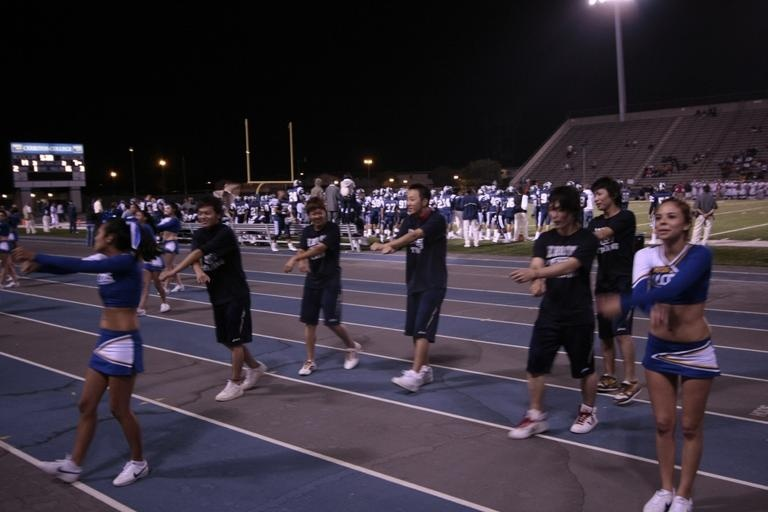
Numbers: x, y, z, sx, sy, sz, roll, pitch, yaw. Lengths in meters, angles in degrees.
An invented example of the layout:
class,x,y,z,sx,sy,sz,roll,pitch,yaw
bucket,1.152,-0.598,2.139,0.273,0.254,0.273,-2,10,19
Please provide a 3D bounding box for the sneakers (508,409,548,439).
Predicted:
class,x,y,z,sx,sy,sz,roll,pitch,yaw
sneakers,1.428,1.755,5.618,0.563,0.238,0.194,-6,4,-28

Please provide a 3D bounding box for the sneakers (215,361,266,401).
class,x,y,z,sx,sy,sz,roll,pitch,yaw
sneakers,-1.848,1.587,6.893,0.238,0.263,0.711,3,13,34

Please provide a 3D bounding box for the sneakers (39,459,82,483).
class,x,y,z,sx,sy,sz,roll,pitch,yaw
sneakers,-3.044,2.024,5.068,0.382,0.154,0.126,24,-1,-2

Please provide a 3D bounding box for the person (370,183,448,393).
class,x,y,z,sx,sy,sz,roll,pitch,yaw
person,0.410,0.392,6.776,0.685,2.572,0.690,2,8,15

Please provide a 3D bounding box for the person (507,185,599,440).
class,x,y,z,sx,sy,sz,roll,pitch,yaw
person,1.758,0.582,5.570,0.957,2.597,0.523,-3,8,-20

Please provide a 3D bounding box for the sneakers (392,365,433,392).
class,x,y,z,sx,sy,sz,roll,pitch,yaw
sneakers,0.412,1.540,6.805,0.612,0.223,0.215,0,5,-37

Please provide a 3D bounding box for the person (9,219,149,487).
class,x,y,z,sx,sy,sz,roll,pitch,yaw
person,-2.682,0.886,5.088,1.099,2.457,0.696,-5,9,-30

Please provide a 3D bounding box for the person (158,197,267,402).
class,x,y,z,sx,sy,sz,roll,pitch,yaw
person,-2.049,0.500,6.762,1.021,2.486,0.919,-3,8,-20

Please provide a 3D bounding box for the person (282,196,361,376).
class,x,y,z,sx,sy,sz,roll,pitch,yaw
person,-0.848,0.414,7.297,0.916,2.391,0.569,-2,8,-12

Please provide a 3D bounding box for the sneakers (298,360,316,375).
class,x,y,z,sx,sy,sz,roll,pitch,yaw
sneakers,-1.049,1.530,7.336,0.127,0.124,0.307,-1,-5,16

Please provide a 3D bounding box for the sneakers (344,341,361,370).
class,x,y,z,sx,sy,sz,roll,pitch,yaw
sneakers,-0.452,1.425,7.670,0.183,0.411,0.158,17,-13,-30
